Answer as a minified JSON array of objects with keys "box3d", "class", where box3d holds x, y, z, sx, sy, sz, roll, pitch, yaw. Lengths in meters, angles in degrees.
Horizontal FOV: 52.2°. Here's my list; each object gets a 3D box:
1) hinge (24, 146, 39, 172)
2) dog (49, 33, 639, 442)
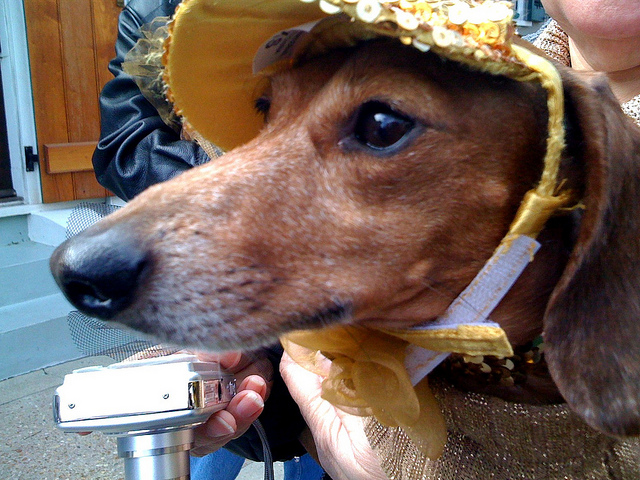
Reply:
[{"box3d":[-2.048,-0.580,4.655,0.094,0.145,0.131,-12,50,-14],"class":"hinge"},{"box3d":[0.160,0.038,1.619,1.356,0.477,0.964,-13,40,-34],"class":"dog"}]
